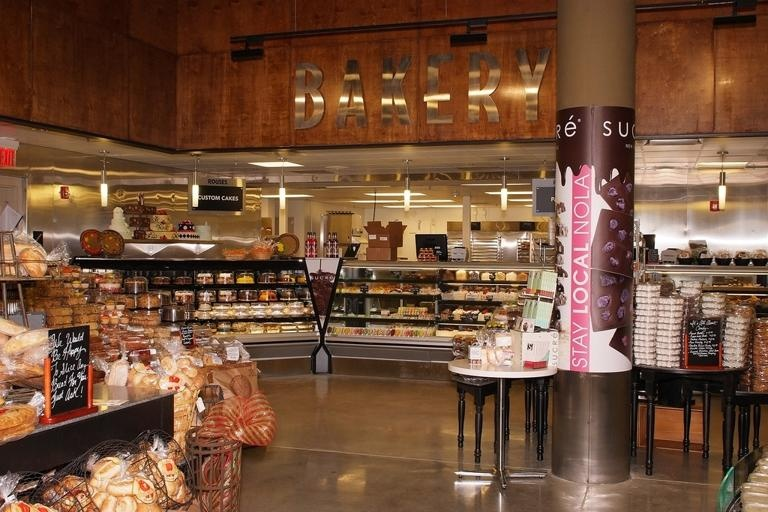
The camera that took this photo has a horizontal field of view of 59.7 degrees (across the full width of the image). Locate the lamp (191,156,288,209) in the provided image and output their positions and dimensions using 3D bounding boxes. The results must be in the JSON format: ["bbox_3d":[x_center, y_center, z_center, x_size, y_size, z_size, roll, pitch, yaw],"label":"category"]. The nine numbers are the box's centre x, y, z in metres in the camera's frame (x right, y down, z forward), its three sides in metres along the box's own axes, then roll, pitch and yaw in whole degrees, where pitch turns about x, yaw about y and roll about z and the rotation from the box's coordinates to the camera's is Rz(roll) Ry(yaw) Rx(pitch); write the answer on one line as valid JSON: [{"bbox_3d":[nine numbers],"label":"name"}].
[{"bbox_3d":[-2.316,-1.258,10.951,1.213,0.680,1.147,2,3,21],"label":"lamp"}]

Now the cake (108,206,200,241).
[{"bbox_3d":[-3.828,-0.509,11.139,0.998,0.311,0.834,1,-2,2],"label":"cake"}]

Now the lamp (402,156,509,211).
[{"bbox_3d":[1.186,-1.207,11.284,1.690,0.836,2.850,0,6,4],"label":"lamp"}]

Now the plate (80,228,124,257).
[{"bbox_3d":[-4.164,-0.190,9.916,0.635,0.415,0.164,6,-4,-21],"label":"plate"}]

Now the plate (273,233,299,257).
[{"bbox_3d":[-1.568,-0.179,10.802,0.375,0.330,0.368,-1,7,-9],"label":"plate"}]
